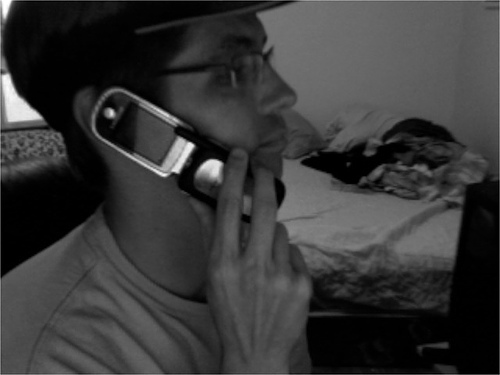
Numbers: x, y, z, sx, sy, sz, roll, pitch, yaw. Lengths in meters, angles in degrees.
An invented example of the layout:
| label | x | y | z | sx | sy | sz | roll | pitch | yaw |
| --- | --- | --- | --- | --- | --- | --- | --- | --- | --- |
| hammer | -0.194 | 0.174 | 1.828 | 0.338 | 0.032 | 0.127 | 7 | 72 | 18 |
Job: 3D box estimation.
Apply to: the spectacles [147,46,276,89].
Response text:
| label | x | y | z | sx | sy | sz | roll | pitch | yaw |
| --- | --- | --- | --- | --- | --- | --- | --- | --- | --- |
| spectacles | -0.102 | -0.286 | 1.109 | 0.280 | 0.086 | 0.055 | 1 | 14 | -8 |

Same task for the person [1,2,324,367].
| label | x | y | z | sx | sy | sz | roll | pitch | yaw |
| --- | --- | --- | --- | --- | --- | --- | --- | --- | --- |
| person | -0.172 | -0.003 | 1.455 | 0.723 | 1.017 | 0.937 | -4 | 15 | 4 |
